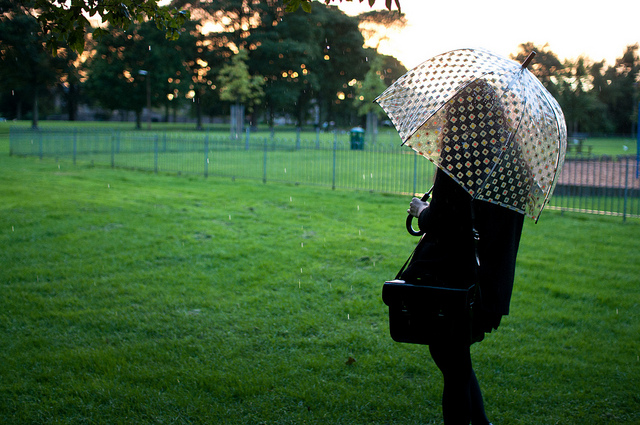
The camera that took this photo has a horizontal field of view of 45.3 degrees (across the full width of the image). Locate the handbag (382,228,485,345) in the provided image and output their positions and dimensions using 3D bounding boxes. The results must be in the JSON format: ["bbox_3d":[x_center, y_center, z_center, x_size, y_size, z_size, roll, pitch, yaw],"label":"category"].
[{"bbox_3d":[1.559,0.936,10.573,1.147,1.788,0.922,2,-3,24],"label":"handbag"}]
